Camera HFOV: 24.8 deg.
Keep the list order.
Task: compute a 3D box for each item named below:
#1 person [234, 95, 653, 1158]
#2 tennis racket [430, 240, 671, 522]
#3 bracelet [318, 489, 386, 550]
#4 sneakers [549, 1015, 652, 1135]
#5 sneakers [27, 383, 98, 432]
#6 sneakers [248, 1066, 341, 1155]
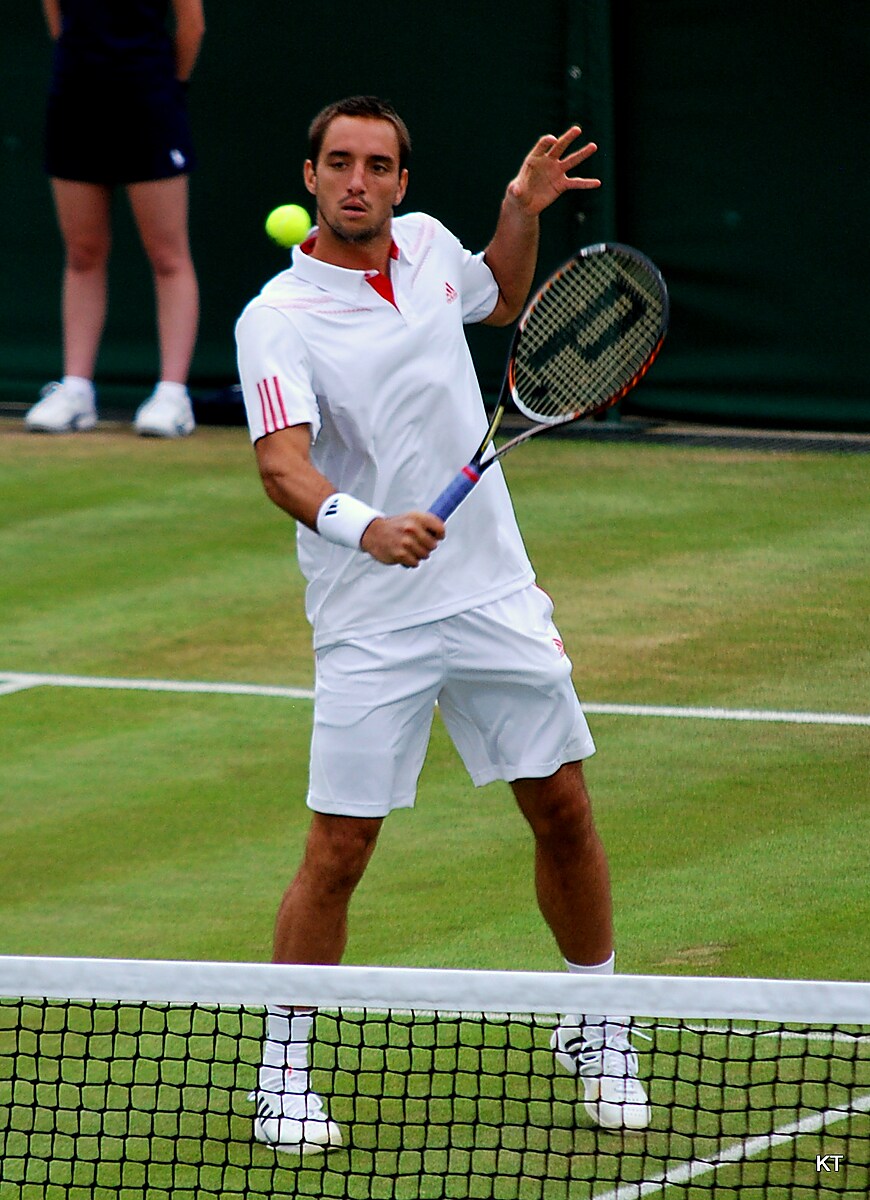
[{"bbox_3d":[0.002,-0.013,3.293,0.652,1.588,0.815,-1,12,-6],"label":"person"},{"bbox_3d":[0.141,-0.385,3.695,0.059,0.859,0.242,39,-30,-12],"label":"tennis racket"},{"bbox_3d":[-0.136,-0.115,2.936,0.083,0.068,0.092,6,23,-48],"label":"bracelet"},{"bbox_3d":[0.252,0.741,3.132,0.090,0.124,0.269,-1,4,-20],"label":"sneakers"},{"bbox_3d":[-1.366,-0.698,7.257,0.132,0.144,0.309,0,-1,13],"label":"sneakers"},{"bbox_3d":[-0.235,0.795,3.097,0.087,0.124,0.203,18,-18,-28],"label":"sneakers"}]
